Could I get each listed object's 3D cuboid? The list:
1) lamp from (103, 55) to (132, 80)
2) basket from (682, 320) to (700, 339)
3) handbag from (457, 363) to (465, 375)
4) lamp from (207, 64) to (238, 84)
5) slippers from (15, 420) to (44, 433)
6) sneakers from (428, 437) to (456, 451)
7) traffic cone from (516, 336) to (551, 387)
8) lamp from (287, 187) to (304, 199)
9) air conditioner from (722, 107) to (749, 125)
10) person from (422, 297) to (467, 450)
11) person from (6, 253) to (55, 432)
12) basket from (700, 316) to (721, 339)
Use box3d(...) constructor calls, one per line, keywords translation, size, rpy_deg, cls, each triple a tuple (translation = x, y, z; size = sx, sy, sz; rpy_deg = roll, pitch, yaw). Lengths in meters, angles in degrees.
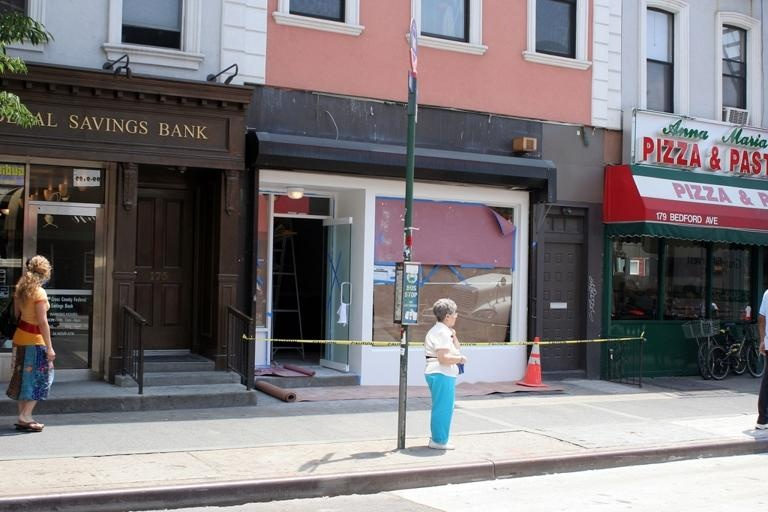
box3d(translation=(-4.706, -3.360, 14.498), size=(0.486, 0.420, 0.713), rpy_deg=(1, 8, -19), cls="lamp")
box3d(translation=(7.038, 1.635, 19.032), size=(0.479, 0.446, 0.353), rpy_deg=(0, 15, 20), cls="basket")
box3d(translation=(1.100, 1.602, 11.950), size=(0.057, 0.188, 0.266), rpy_deg=(6, 8, 18), cls="handbag")
box3d(translation=(-3.001, -3.361, 15.185), size=(0.550, 0.438, 0.682), rpy_deg=(4, 8, -2), cls="lamp")
box3d(translation=(-5.255, 2.510, 12.198), size=(0.307, 0.111, 0.184), rpy_deg=(-1, -2, -9), cls="slippers")
box3d(translation=(0.827, 2.745, 12.081), size=(0.389, 0.157, 0.140), rpy_deg=(1, 0, -7), cls="sneakers")
box3d(translation=(3.060, 2.165, 17.073), size=(0.549, 1.023, 0.867), rpy_deg=(5, 8, 9), cls="traffic cone")
box3d(translation=(-1.786, -1.257, 16.516), size=(0.331, 0.280, 0.650), rpy_deg=(3, 8, -6), cls="lamp")
box3d(translation=(8.576, -3.425, 20.087), size=(0.941, 0.398, 0.304), rpy_deg=(-1, 9, -29), cls="air conditioner")
box3d(translation=(0.851, 1.730, 12.031), size=(0.569, 2.198, 0.553), rpy_deg=(5, 8, 5), cls="person")
box3d(translation=(-5.271, 1.313, 12.293), size=(0.619, 2.529, 0.769), rpy_deg=(0, 9, -25), cls="person")
box3d(translation=(7.457, 1.657, 19.108), size=(0.330, 0.453, 0.516), rpy_deg=(-1, -4, -10), cls="basket")
